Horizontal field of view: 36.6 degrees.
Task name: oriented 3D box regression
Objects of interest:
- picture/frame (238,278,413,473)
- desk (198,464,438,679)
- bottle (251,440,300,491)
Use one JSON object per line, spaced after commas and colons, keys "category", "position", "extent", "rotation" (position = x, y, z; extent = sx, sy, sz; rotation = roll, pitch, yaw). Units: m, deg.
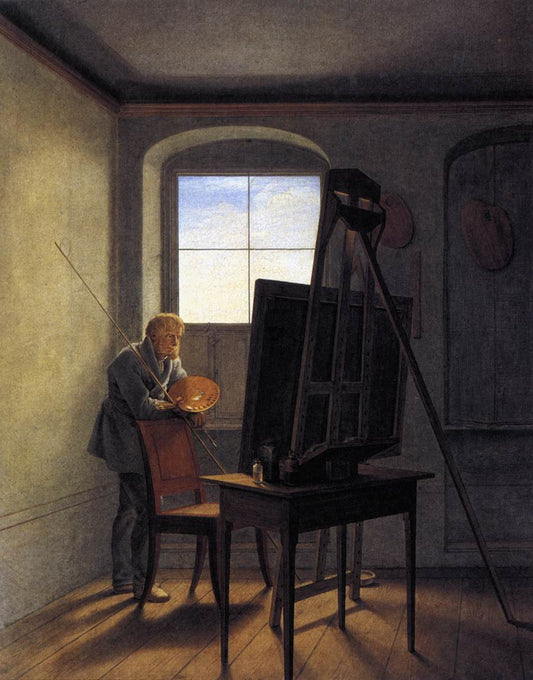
{"category": "picture/frame", "position": [0.242, 0.147, 3.165], "extent": [0.937, 0.885, 0.074], "rotation": [3, 5, -41]}
{"category": "desk", "position": [0.172, 0.946, 3.428], "extent": [1.046, 1.078, 0.707], "rotation": [1, -1, -45]}
{"category": "bottle", "position": [0.017, 0.465, 3.100], "extent": [0.175, 0.176, 0.151], "rotation": [0, 2, -18]}
